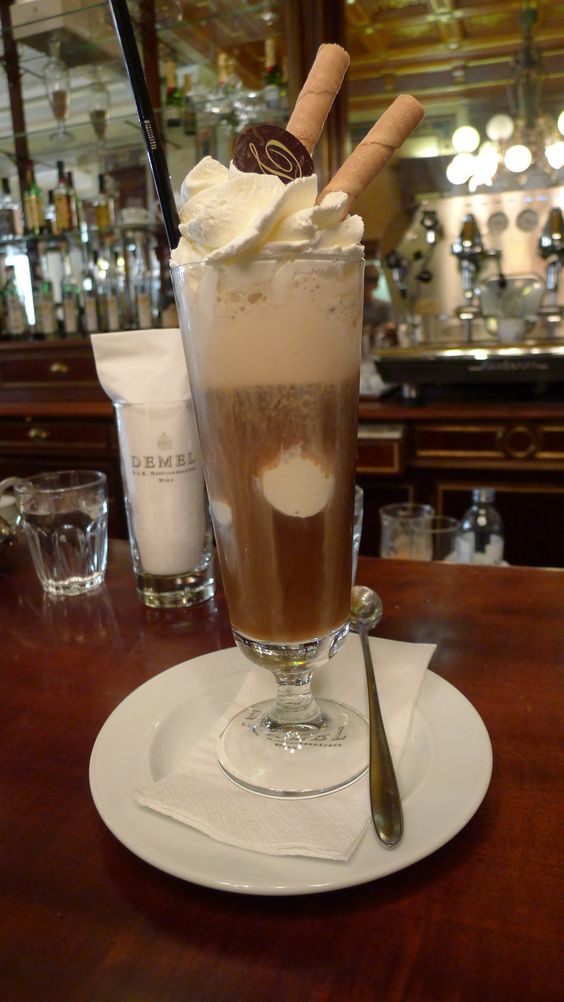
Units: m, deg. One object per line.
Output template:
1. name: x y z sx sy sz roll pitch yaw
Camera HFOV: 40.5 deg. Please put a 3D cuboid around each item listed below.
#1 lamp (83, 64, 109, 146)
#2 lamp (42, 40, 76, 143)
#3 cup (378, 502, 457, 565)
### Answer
1. lamp: -0.669 -1.437 2.786 0.071 0.205 0.201 -5 11 -10
2. lamp: -0.782 -1.432 2.668 0.082 0.257 0.231 -5 11 -14
3. cup: 0.173 0.041 0.973 0.103 0.078 0.066 0 4 -7
